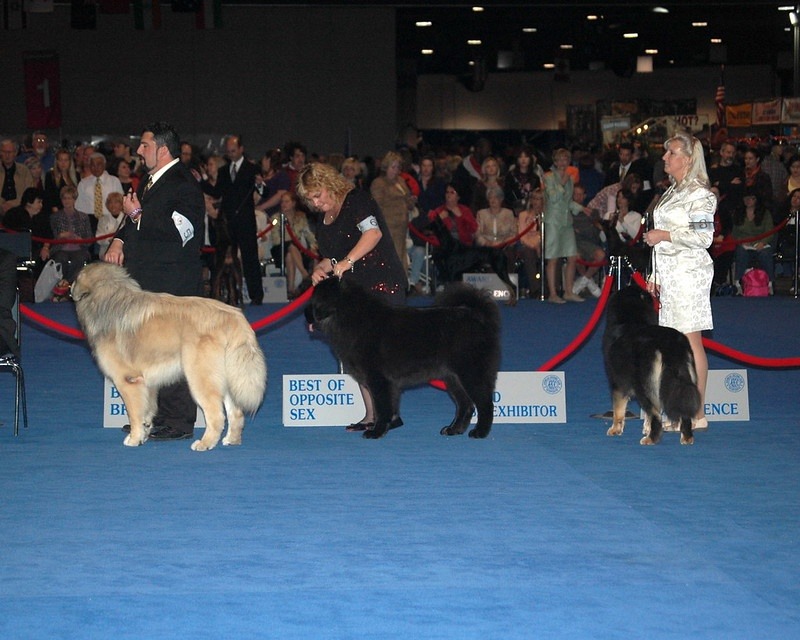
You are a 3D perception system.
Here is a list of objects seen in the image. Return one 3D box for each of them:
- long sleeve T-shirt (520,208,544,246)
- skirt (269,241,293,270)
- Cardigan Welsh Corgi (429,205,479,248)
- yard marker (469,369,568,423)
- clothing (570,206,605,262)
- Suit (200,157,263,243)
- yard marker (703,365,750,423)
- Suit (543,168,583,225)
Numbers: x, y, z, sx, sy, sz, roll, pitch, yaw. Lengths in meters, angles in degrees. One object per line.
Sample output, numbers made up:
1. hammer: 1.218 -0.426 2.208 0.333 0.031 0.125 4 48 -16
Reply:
1. long sleeve T-shirt: 1.893 -1.343 15.521 0.169 0.474 0.360 9 3 13
2. skirt: -1.927 -1.011 16.311 0.313 0.486 0.198 -2 -4 44
3. Cardigan Welsh Corgi: 0.776 -1.351 15.423 0.544 0.438 0.326 16 -23 3
4. yard marker: 0.922 0.609 8.138 0.696 0.390 0.020 -2 -19 28
5. clothing: 2.839 -1.234 15.685 0.719 0.693 0.258 1 -10 -19
6. Suit: -2.377 -1.540 14.483 0.808 1.760 0.625 -4 31 -24
7. yard marker: 2.507 0.587 8.109 0.455 0.439 0.044 -2 5 -9
8. Suit: 2.305 -1.785 15.086 0.700 0.736 0.317 -8 12 -42
